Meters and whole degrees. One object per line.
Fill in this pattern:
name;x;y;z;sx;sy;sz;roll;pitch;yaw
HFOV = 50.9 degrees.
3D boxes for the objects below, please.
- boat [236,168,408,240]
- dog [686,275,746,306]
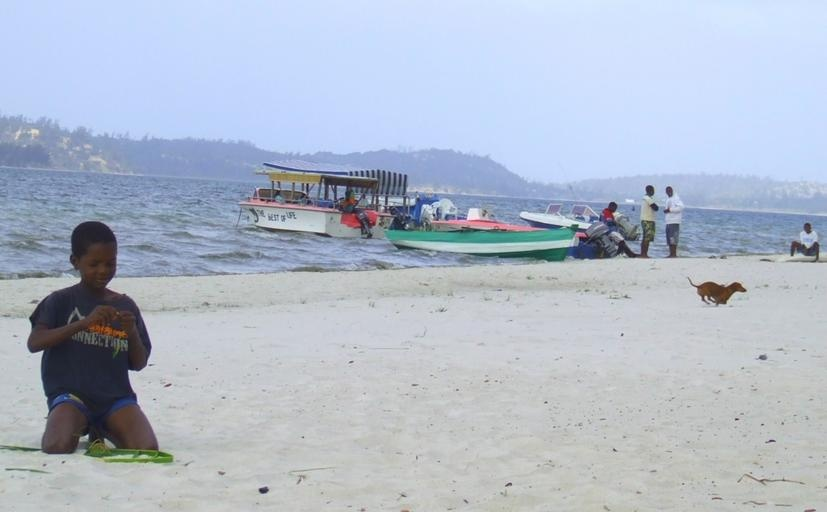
boat;-3.315;-1.861;31.203;5.539;1.979;3.054;1;4;41
dog;4.857;0.583;13.781;0.709;0.424;0.790;5;15;22
